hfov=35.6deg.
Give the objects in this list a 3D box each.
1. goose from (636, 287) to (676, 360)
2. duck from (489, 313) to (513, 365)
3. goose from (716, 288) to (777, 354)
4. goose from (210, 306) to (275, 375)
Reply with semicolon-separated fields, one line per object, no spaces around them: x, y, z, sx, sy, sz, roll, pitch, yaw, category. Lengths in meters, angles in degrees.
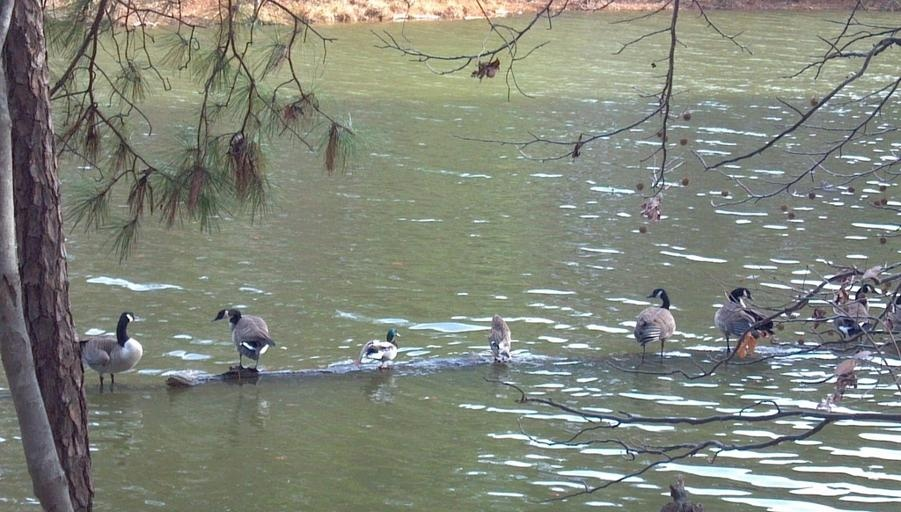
5.531;1.776;37.384;1.069;1.583;2.342;4;7;9;goose
1.355;2.117;36.612;0.609;1.133;1.243;4;7;2;duck
7.706;1.755;36.687;1.196;1.574;2.460;9;5;-19;goose
-5.326;2.148;36.758;1.370;1.430;2.062;1;7;-15;goose
